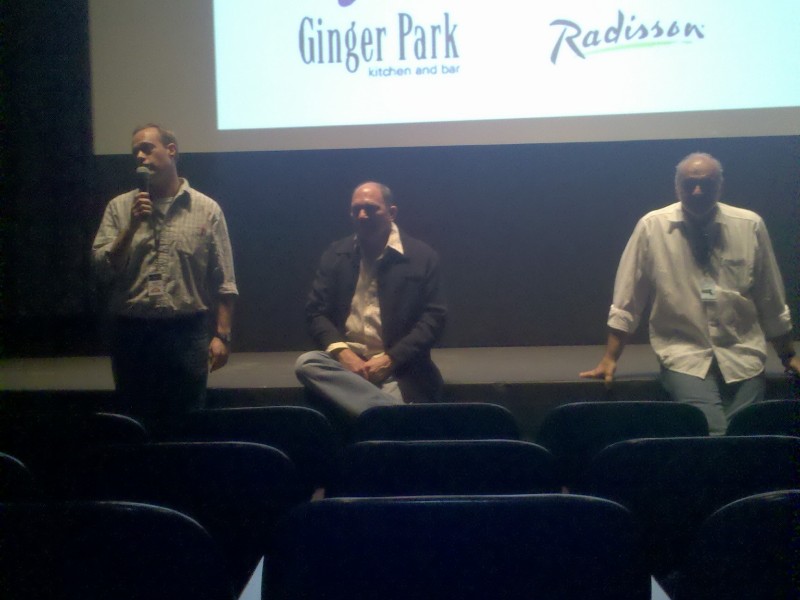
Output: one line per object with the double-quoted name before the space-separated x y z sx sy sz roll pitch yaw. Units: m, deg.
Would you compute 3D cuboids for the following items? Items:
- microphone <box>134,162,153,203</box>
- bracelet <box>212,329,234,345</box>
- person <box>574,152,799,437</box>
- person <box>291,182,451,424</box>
"microphone" -0.745 -0.353 2.131 0.046 0.087 0.098 -6 13 -23
"bracelet" -0.548 0.120 2.289 0.038 0.041 0.040 0 0 -1
"person" 1.018 -0.035 2.468 0.643 0.915 0.271 4 13 22
"person" -0.093 0.018 2.405 0.447 0.826 0.523 1 3 -9
